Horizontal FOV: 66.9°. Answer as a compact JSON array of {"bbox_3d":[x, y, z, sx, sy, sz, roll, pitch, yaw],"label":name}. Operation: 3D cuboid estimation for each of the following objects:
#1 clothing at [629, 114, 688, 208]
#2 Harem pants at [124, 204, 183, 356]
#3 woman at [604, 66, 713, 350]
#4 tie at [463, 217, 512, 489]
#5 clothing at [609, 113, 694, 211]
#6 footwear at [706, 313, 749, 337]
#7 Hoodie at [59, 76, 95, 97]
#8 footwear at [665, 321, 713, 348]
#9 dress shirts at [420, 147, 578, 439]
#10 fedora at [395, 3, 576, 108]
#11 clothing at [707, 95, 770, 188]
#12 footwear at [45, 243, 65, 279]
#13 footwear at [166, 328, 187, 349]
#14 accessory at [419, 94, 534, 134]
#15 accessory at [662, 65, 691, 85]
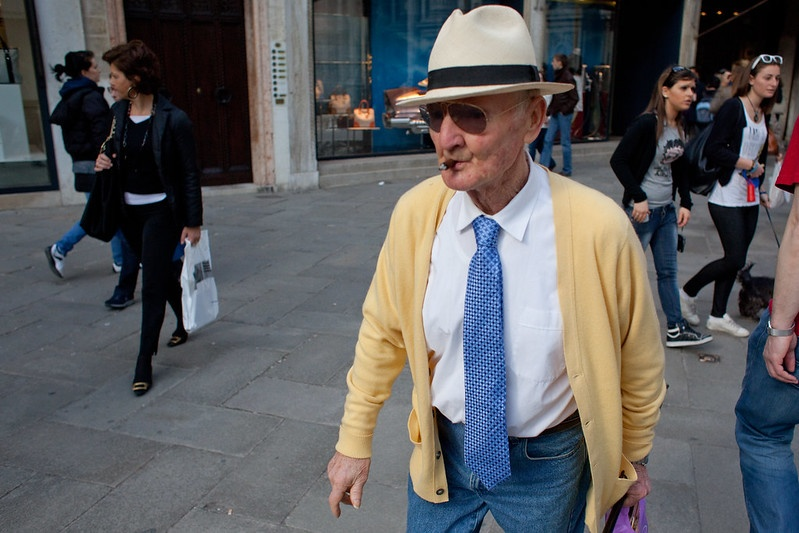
[{"bbox_3d":[2.286,-0.951,5.336,0.655,0.873,0.330,-12,25,-33],"label":"clothing"},{"bbox_3d":[-2.066,0.059,5.178,0.471,1.182,0.762,-9,19,-19],"label":"Harem pants"},{"bbox_3d":[2.405,-0.534,5.478,0.947,2.425,0.811,1,9,7],"label":"woman"},{"bbox_3d":[0.356,0.351,2.462,0.178,1.076,0.298,-1,18,7],"label":"tie"},{"bbox_3d":[2.333,-0.934,5.438,0.791,0.875,0.501,-13,28,-20],"label":"clothing"},{"bbox_3d":[3.169,0.568,5.857,0.396,0.171,0.160,10,29,24],"label":"footwear"},{"bbox_3d":[-3.906,-2.193,7.360,0.439,0.219,0.251,4,19,19],"label":"Hoodie"},{"bbox_3d":[2.657,0.618,5.643,0.474,0.275,0.185,-2,8,1],"label":"footwear"},{"bbox_3d":[0.451,0.077,2.607,0.612,1.147,0.355,0,0,16],"label":"dress shirts"},{"bbox_3d":[0.281,-0.811,2.410,0.461,0.243,0.425,4,20,42],"label":"fedora"},{"bbox_3d":[3.238,-1.192,5.540,0.564,0.634,0.329,-3,40,11],"label":"clothing"},{"bbox_3d":[-4.130,-0.064,7.241,0.180,0.399,0.134,-14,32,-8],"label":"footwear"},{"bbox_3d":[-2.095,0.671,5.680,0.109,0.086,0.225,-1,5,3],"label":"footwear"},{"bbox_3d":[0.265,-0.597,2.404,0.202,0.079,0.254,8,28,33],"label":"accessory"},{"bbox_3d":[2.436,-1.652,5.239,0.222,0.162,0.311,7,20,27],"label":"accessory"}]
